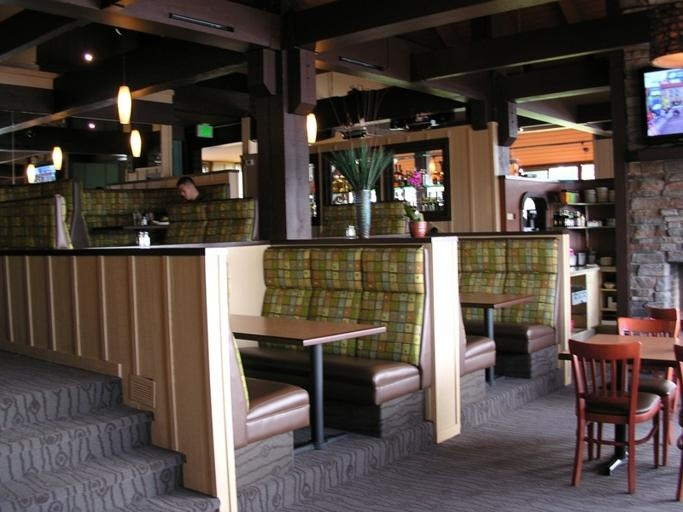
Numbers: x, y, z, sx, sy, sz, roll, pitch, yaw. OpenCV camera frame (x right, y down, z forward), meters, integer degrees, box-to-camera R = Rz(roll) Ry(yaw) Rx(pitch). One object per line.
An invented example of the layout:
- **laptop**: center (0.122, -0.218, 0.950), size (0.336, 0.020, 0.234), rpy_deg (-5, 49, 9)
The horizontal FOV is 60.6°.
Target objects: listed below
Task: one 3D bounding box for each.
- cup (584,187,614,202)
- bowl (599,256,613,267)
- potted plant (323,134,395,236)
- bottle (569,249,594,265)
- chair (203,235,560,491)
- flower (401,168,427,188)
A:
- **cup**: center (4.417, -1.073, 9.969), size (0.384, 0.114, 0.373), rpy_deg (0, -2, 0)
- **bowl**: center (4.492, 0.088, 10.017), size (0.196, 0.123, 0.240), rpy_deg (1, -3, -39)
- **potted plant**: center (0.230, -0.678, 5.881), size (0.542, 0.953, 0.693), rpy_deg (-4, 4, -3)
- **bottle**: center (4.063, 0.012, 9.887), size (0.615, 0.280, 0.317), rpy_deg (-2, 4, -29)
- **chair**: center (0.290, 0.914, 4.769), size (2.668, 1.218, 1.404), rpy_deg (-2, -2, 35)
- **flower**: center (1.332, -1.428, 10.628), size (0.360, 0.318, 0.186), rpy_deg (-2, 2, 28)
